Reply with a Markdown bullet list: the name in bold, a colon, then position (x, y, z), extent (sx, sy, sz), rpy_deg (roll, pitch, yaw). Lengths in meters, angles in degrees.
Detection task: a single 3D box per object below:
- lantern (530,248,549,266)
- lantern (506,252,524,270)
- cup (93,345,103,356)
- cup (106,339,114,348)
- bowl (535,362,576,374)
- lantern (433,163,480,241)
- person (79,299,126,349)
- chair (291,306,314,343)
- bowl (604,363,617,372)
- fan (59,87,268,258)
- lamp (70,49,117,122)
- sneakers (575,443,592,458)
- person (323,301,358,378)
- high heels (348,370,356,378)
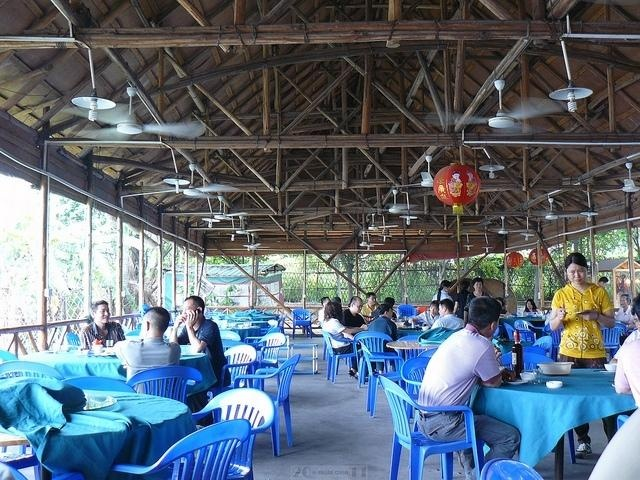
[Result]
- **lantern**: position (5.524, 0.420, 17.180), extent (0.348, 0.455, 0.726), rpy_deg (-10, -12, 40)
- **lantern**: position (5.026, 0.516, 17.664), extent (0.424, 0.378, 0.320), rpy_deg (-6, -10, 24)
- **cup**: position (-2.399, 1.187, 7.347), extent (0.090, 0.075, 0.103), rpy_deg (-1, -11, 3)
- **cup**: position (-2.426, 1.198, 7.866), extent (0.092, 0.096, 0.096), rpy_deg (-5, -18, -2)
- **bowl**: position (1.975, 1.090, 5.754), extent (0.154, 0.066, 0.163), rpy_deg (-6, -21, -2)
- **lantern**: position (1.769, -0.561, 8.762), extent (0.575, 1.003, 0.807), rpy_deg (-4, -9, 11)
- **person**: position (-2.954, 1.126, 9.139), extent (0.644, 0.763, 0.394), rpy_deg (7, -20, -41)
- **chair**: position (-0.458, 2.089, 17.809), extent (0.564, 0.864, 0.648), rpy_deg (1, -22, -4)
- **bowl**: position (2.526, 1.107, 5.918), extent (0.122, 0.075, 0.127), rpy_deg (-2, -9, 0)
- **fan**: position (-2.919, -1.257, 12.535), extent (2.531, 1.704, 2.581), rpy_deg (6, -19, -20)
- **lamp**: position (-2.956, -2.052, 8.876), extent (0.539, 1.414, 0.566), rpy_deg (-1, -29, -10)
- **sneakers**: position (2.452, 1.956, 6.345), extent (0.208, 0.149, 0.078), rpy_deg (3, -19, -12)
- **person**: position (0.442, 1.521, 10.610), extent (0.621, 1.251, 0.492), rpy_deg (-11, 2, 0)
- **high heels**: position (0.500, 2.092, 10.642), extent (0.092, 0.117, 0.265), rpy_deg (1, -5, -2)
